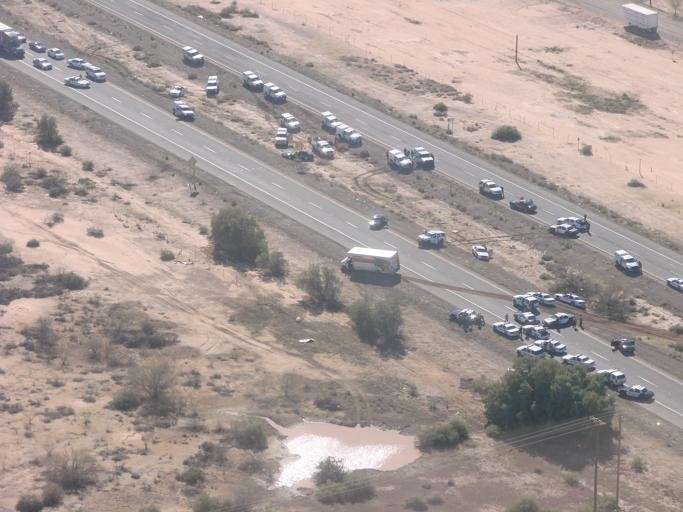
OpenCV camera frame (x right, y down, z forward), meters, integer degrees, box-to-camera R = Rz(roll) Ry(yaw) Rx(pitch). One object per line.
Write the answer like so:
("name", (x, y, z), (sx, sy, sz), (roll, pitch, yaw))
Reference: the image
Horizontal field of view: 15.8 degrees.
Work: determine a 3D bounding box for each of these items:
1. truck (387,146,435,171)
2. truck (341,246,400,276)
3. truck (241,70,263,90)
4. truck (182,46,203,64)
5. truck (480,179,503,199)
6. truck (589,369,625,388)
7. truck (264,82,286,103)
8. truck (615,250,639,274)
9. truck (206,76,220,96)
("truck", (12.728, -18.163, 453.921), (8.277, 3.573, 5.276), (7, 22, -8))
("truck", (5.201, 0.619, 425.721), (9.211, 4.807, 1.868), (13, 22, 6))
("truck", (-17.301, -34.302, 474.200), (2.918, 2.446, 4.257), (-29, 56, -22))
("truck", (-29.033, -39.032, 480.344), (4.308, 2.425, 3.056), (26, 27, 35))
("truck", (26.888, -12.515, 445.988), (2.400, 1.945, 4.718), (-13, 29, -20))
("truck", (44.378, 19.308, 406.743), (4.695, 2.281, 2.751), (24, 37, 39))
("truck", (-12.836, -31.410, 471.301), (5.027, 2.661, 2.359), (25, 26, 33))
("truck", (49.750, 0.492, 427.813), (2.833, 2.636, 4.804), (-19, 44, -18))
("truck", (-24.940, -33.059, 472.411), (2.025, 1.937, 4.011), (0, 38, -3))
